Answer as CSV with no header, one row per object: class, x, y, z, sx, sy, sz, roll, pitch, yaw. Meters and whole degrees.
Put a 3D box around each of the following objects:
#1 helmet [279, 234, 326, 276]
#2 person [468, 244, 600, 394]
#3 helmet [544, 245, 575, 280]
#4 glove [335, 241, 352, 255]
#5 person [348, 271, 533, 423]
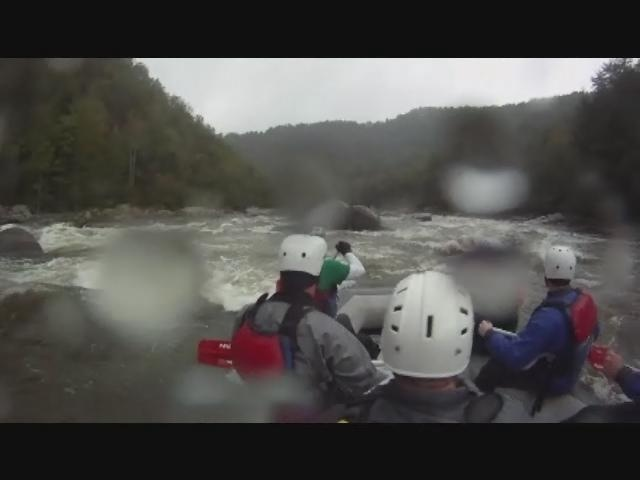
helmet,-0.131,0.095,3.682,0.254,0.333,0.351,5,9,10
person,1.695,0.688,3.684,0.782,1.155,0.660,-12,22,-21
helmet,1.908,0.185,3.667,0.194,0.256,0.281,2,27,15
glove,0.201,0.067,3.994,0.103,0.108,0.123,2,-4,-32
person,1.040,0.900,4.082,0.891,1.202,1.287,3,4,12
